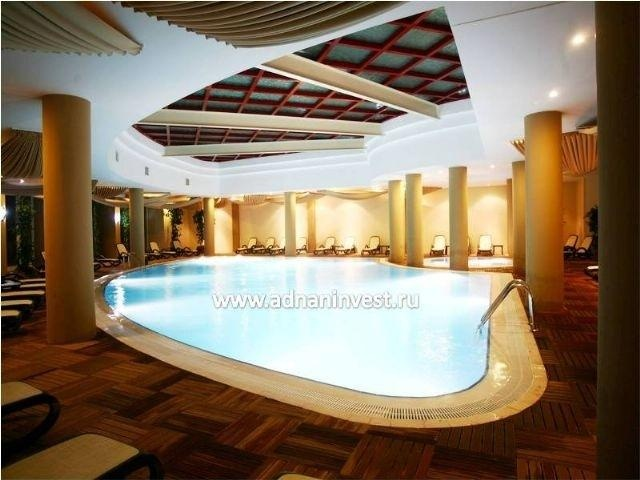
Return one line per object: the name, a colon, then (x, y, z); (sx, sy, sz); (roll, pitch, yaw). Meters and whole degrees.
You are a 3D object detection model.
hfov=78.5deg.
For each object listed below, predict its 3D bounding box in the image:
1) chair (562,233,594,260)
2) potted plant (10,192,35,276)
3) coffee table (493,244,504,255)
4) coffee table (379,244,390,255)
chair: (10.773, 0.242, 16.090); (1.973, 1.138, 0.975); (1, -5, -22)
potted plant: (-11.047, -0.233, 14.501); (0.551, 2.324, 0.758); (0, 3, 39)
coffee table: (9.147, 0.476, 20.152); (0.616, 0.553, 0.580); (-1, -2, 19)
coffee table: (3.600, 0.480, 21.848); (0.683, 0.589, 0.511); (-1, -10, 9)
